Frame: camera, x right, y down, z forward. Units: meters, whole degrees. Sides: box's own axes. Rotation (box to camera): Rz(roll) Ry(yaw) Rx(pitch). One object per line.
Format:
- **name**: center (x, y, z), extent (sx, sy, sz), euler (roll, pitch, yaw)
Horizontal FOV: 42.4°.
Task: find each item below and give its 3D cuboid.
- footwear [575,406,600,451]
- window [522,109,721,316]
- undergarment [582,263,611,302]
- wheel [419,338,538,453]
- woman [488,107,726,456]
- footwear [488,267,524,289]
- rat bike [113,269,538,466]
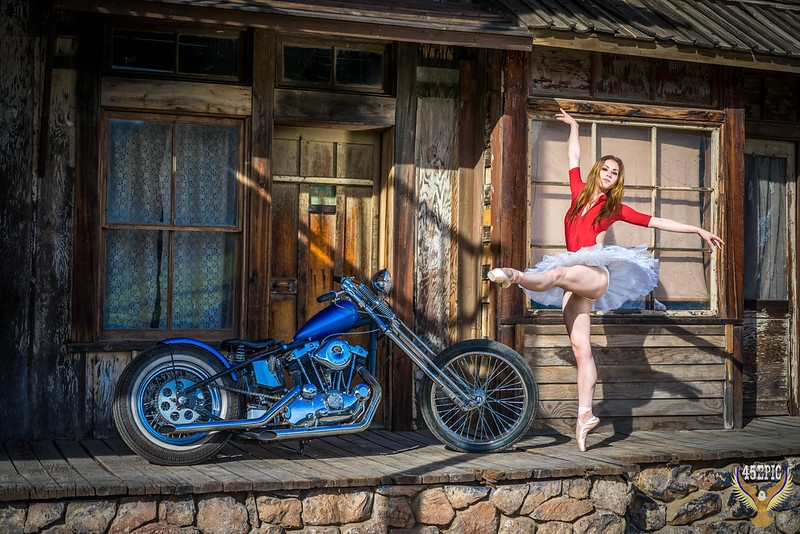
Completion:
- **footwear**: center (1.606, 1.378, 8.850), extent (0.135, 0.464, 0.161), euler (9, -4, -33)
- **window**: center (2.088, -0.458, 9.662), extent (1.823, 1.960, 0.171), euler (3, -9, -14)
- **undergarment**: center (1.692, 0.131, 8.720), extent (0.238, 0.286, 0.248), euler (4, -2, -38)
- **wheel**: center (0.696, 1.137, 8.963), extent (1.034, 1.225, 0.183), euler (-1, 27, 4)
- **woman**: center (1.611, 0.133, 8.929), extent (1.545, 2.880, 0.645), euler (-1, 4, -15)
- **footwear**: center (0.845, 0.101, 8.448), extent (0.217, 0.168, 0.249), euler (6, -9, -4)
- **rat bike**: center (-0.469, 0.820, 9.398), extent (3.851, 2.103, 1.560), euler (-1, -3, -9)
